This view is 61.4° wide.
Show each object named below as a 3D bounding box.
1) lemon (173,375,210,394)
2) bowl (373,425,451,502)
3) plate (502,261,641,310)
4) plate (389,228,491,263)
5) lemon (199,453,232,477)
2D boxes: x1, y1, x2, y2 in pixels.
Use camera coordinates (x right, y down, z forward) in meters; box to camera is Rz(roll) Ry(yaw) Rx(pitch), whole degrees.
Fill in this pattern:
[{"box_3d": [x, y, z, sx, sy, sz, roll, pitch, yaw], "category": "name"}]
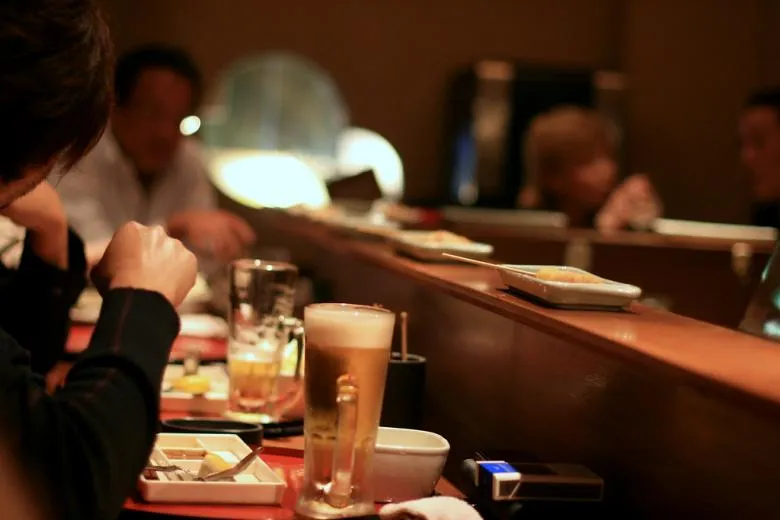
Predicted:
[{"box_3d": [-0.549, 0.343, 1.813, 0.073, 0.044, 0.051, 5, -22, -20], "category": "lemon"}, {"box_3d": [0.039, 0.410, 1.281, 0.163, 0.096, 0.145, -4, -12, 20], "category": "bowl"}, {"box_3d": [0.354, 0.063, 1.385, 0.320, 0.092, 0.175, 3, 15, 35], "category": "plate"}, {"box_3d": [0.156, -0.049, 2.118, 0.230, 0.077, 0.388, -9, 12, -17], "category": "plate"}, {"box_3d": [-0.339, 0.388, 1.259, 0.041, 0.041, 0.049, 6, -1, -3], "category": "lemon"}]
